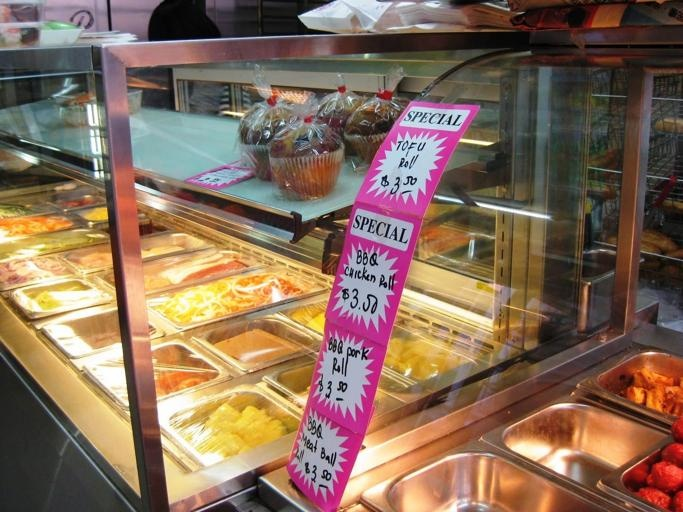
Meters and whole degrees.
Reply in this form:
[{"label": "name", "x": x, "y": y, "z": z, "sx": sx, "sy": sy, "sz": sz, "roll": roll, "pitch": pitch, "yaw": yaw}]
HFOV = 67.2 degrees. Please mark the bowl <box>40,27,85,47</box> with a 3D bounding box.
[{"label": "bowl", "x": -0.674, "y": -0.538, "z": 1.253, "sx": 0.119, "sy": 0.044, "sz": 0.082, "roll": 15, "pitch": 24, "yaw": 41}]
